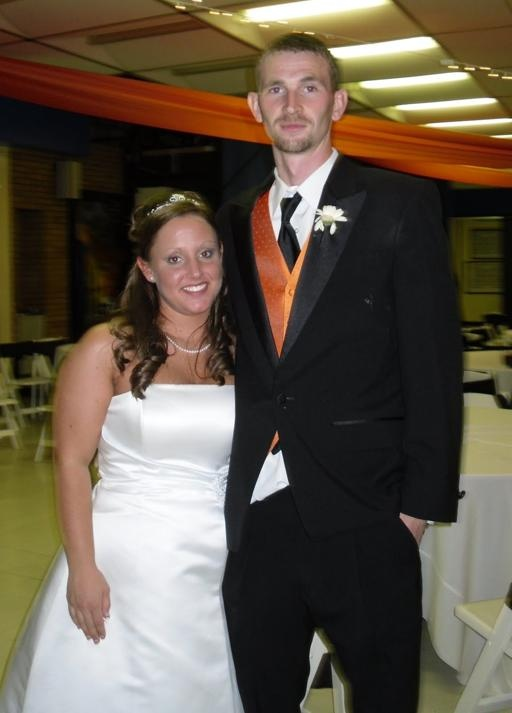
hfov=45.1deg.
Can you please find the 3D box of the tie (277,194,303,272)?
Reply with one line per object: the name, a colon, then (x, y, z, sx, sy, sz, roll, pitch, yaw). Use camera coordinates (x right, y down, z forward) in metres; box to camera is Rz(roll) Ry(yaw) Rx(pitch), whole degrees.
tie: (0.062, -0.261, 1.309, 0.047, 0.170, 0.021, 5, -19, -11)
